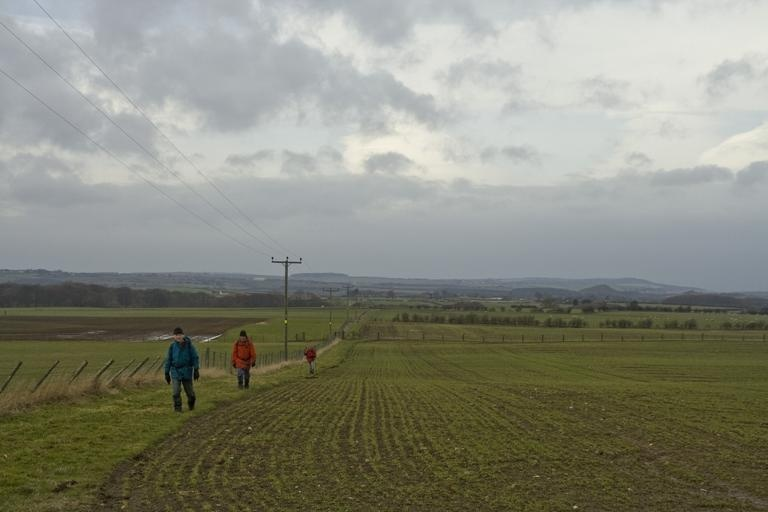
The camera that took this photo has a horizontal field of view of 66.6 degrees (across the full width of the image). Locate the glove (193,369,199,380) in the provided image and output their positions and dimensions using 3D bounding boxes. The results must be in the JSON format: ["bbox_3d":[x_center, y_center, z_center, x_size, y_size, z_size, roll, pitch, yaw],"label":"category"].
[{"bbox_3d":[-7.842,4.949,24.507,0.124,0.393,0.583,4,-9,-34],"label":"glove"}]
